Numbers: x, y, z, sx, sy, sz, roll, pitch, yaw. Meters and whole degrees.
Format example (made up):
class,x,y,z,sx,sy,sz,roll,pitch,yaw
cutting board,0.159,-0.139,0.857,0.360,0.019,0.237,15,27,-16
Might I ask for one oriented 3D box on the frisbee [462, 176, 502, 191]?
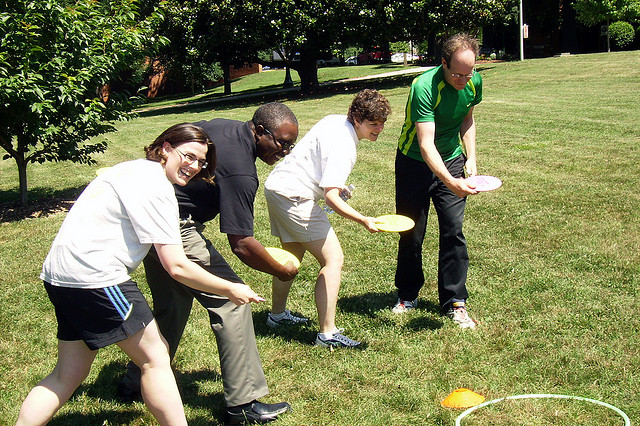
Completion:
class,x,y,z,sx,sy,sz,roll,pitch,yaw
frisbee,1.869,-0.345,6.423,0.414,0.110,0.497,2,17,18

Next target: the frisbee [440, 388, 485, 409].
class,x,y,z,sx,sy,sz,roll,pitch,yaw
frisbee,1.430,1.873,5.593,0.424,0.119,0.186,0,16,11

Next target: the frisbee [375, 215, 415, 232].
class,x,y,z,sx,sy,sz,roll,pitch,yaw
frisbee,0.836,0.124,6.222,0.410,0.108,0.606,0,16,10

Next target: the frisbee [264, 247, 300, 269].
class,x,y,z,sx,sy,sz,roll,pitch,yaw
frisbee,-0.389,0.426,5.750,0.311,0.231,0.535,-5,16,-5
